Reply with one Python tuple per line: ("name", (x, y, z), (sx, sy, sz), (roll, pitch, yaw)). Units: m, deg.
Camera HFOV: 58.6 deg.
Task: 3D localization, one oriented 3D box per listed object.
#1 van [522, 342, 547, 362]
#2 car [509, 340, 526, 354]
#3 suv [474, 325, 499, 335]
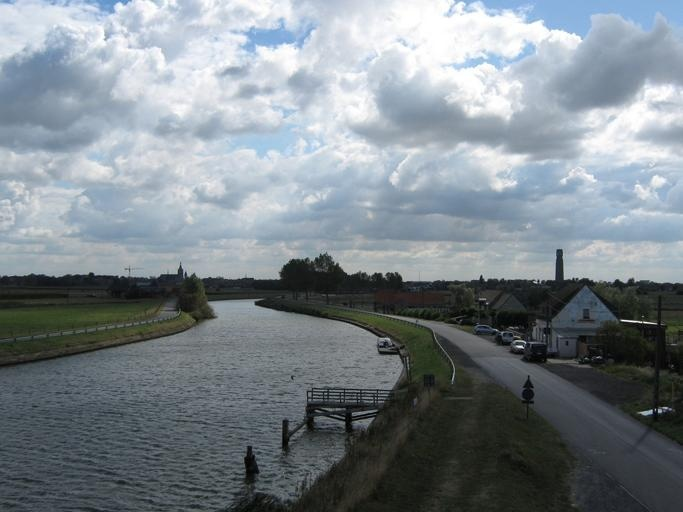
("van", (24.150, 11.764, 76.082), (1.586, 1.627, 3.065), (0, 0, 9))
("car", (23.917, 12.330, 83.092), (1.318, 1.343, 2.526), (-1, -6, 1))
("suv", (25.805, 13.270, 109.412), (3.538, 1.309, 1.782), (-2, 2, -5))
